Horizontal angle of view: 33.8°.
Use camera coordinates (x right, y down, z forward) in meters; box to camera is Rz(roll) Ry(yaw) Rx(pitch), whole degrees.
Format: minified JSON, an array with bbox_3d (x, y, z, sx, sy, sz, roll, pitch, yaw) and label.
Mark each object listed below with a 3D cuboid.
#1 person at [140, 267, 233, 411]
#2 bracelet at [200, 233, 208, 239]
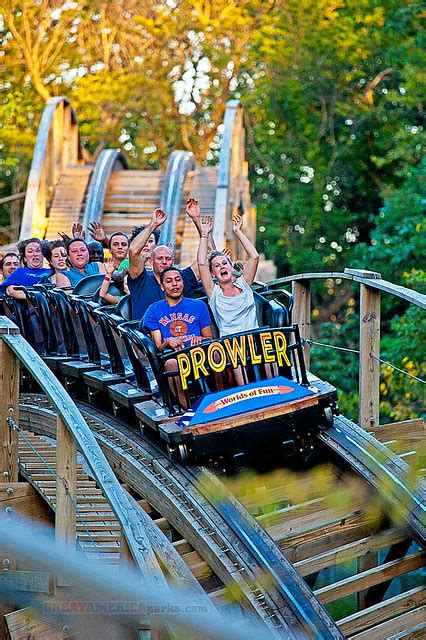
[{"bbox_3d":[-0.200,0.051,4.450,0.460,0.733,0.603,-5,11,-9],"label":"person"},{"bbox_3d":[-0.065,-0.608,5.079,0.043,0.028,0.042,-1,3,-37],"label":"bracelet"}]
